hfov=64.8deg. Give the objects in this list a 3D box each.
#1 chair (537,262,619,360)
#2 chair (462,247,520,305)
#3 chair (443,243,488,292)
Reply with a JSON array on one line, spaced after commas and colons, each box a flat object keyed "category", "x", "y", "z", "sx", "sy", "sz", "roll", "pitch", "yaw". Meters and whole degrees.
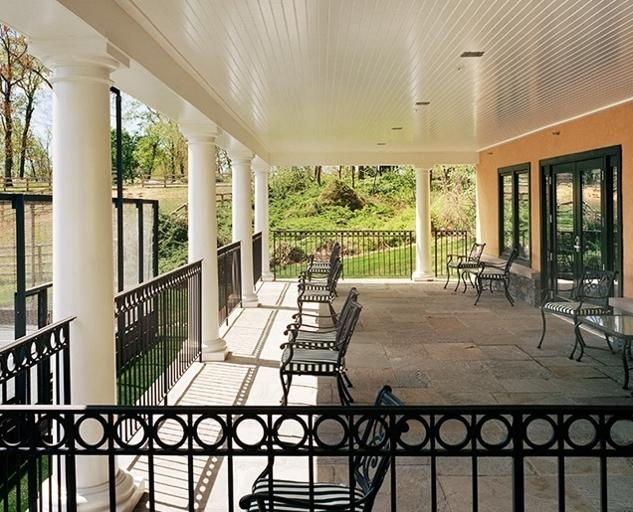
[{"category": "chair", "x": 3.704, "y": 0.761, "z": 7.061, "sx": 0.951, "sy": 1.147, "sz": 0.938, "roll": 1, "pitch": 3, "yaw": 16}, {"category": "chair", "x": 3.845, "y": 0.355, "z": 10.684, "sx": 0.866, "sy": 1.131, "sz": 0.858, "roll": 0, "pitch": 6, "yaw": 10}, {"category": "chair", "x": 3.759, "y": 0.207, "z": 12.596, "sx": 0.972, "sy": 1.172, "sz": 0.970, "roll": 4, "pitch": 3, "yaw": 21}]
